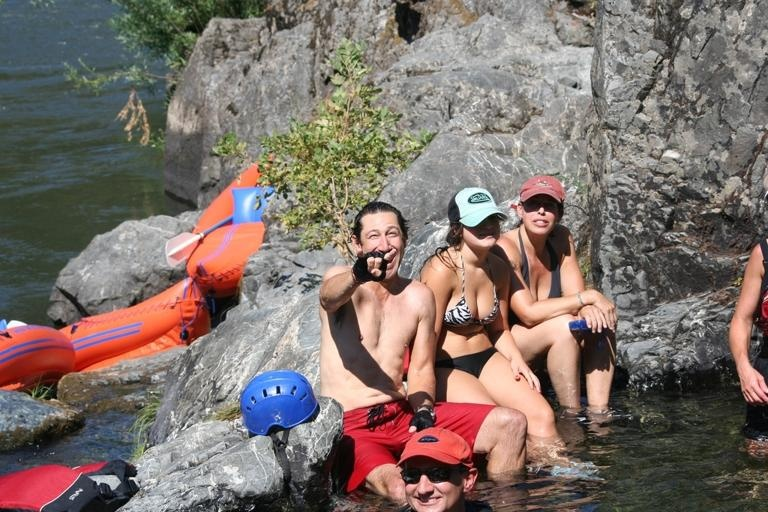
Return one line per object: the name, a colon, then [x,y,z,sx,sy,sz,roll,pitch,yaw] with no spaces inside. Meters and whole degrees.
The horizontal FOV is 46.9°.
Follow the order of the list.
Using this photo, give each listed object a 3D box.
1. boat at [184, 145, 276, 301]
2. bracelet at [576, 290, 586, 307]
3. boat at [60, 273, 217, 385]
boat: [-2.346,-0.551,14.752,1.695,0.829,2.485,8,57,33]
bracelet: [2.183,0.482,9.797,0.093,0.135,0.045,1,13,23]
boat: [-3.909,1.282,14.195,1.854,0.693,1.472,-21,11,5]
